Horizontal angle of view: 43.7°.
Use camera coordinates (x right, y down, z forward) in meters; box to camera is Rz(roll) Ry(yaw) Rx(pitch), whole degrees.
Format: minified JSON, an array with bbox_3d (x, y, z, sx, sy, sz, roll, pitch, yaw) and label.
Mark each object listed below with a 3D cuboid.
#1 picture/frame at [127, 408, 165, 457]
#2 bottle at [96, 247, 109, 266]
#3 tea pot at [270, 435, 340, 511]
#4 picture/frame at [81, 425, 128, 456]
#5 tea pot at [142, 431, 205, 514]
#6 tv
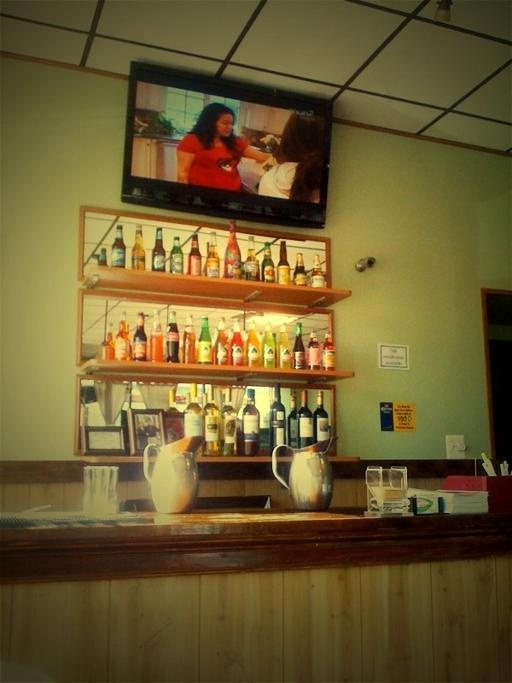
[{"bbox_3d":[-0.461,0.379,2.623,0.194,0.220,0.023,7,-30,-27],"label":"picture/frame"},{"bbox_3d":[-0.684,-0.378,2.826,0.047,0.083,0.043,0,-1,0],"label":"bottle"},{"bbox_3d":[0.159,0.453,2.180,0.254,0.232,0.154,-5,-15,27],"label":"tea pot"},{"bbox_3d":[-0.633,0.412,2.624,0.146,0.099,0.014,2,-32,-14],"label":"picture/frame"},{"bbox_3d":[-0.253,0.415,1.996,0.226,0.237,0.165,-2,-5,11],"label":"tea pot"},{"bbox_3d":[-0.182,-0.947,3.035,0.824,0.465,0.084,4,7,-16],"label":"tv"}]
